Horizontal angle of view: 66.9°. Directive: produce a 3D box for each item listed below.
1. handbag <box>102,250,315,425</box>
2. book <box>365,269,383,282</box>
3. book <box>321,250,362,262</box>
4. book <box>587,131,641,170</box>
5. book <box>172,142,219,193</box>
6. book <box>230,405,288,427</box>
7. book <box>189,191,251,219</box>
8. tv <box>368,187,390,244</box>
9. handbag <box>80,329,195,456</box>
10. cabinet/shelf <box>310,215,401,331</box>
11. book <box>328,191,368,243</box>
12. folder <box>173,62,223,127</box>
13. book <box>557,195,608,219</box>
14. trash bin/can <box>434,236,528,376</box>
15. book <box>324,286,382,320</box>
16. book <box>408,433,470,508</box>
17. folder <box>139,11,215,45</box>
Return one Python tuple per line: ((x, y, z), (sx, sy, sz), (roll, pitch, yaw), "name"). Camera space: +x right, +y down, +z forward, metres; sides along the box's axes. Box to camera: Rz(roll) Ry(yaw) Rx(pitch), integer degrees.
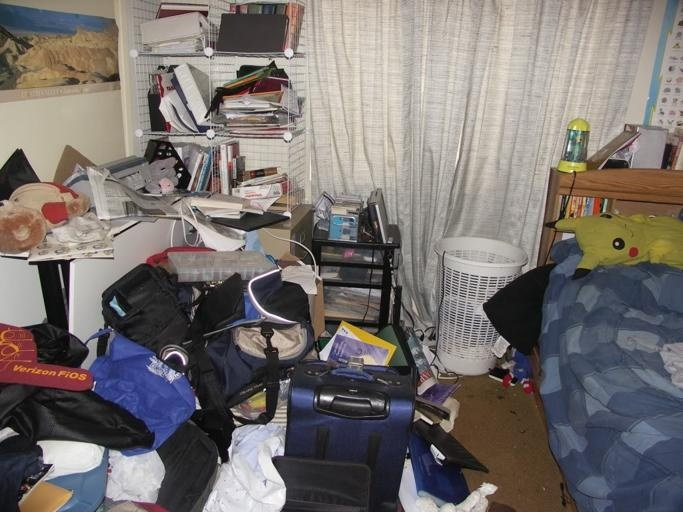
((-0.565, 0.285, 2.301), (0.862, 0.580, 0.286), (4, -29, -18), "handbag")
((0.182, 0.114, 3.043), (0.100, 0.086, 0.052), (3, 20, -3), "book")
((-0.004, -0.003, 3.037), (0.240, 0.075, 0.050), (6, 20, 7), "book")
((1.524, -0.598, 2.923), (0.222, 0.225, 0.185), (10, 21, 18), "book")
((-0.804, -0.488, 2.919), (0.294, 0.346, 0.274), (3, 10, -6), "book")
((-0.349, 0.655, 2.120), (0.161, 0.101, 0.035), (-3, -15, 9), "book")
((-0.641, -0.265, 2.713), (0.187, 0.052, 0.168), (7, 20, -14), "book")
((0.214, -0.233, 3.037), (0.085, 0.215, 0.387), (-7, 1, 12), "tv")
((-0.871, 0.504, 2.152), (0.402, 0.191, 0.538), (-25, 19, 17), "handbag")
((0.069, 0.112, 3.141), (0.439, 0.678, 0.320), (5, -2, 8), "cabinet/shelf")
((0.066, -0.217, 3.070), (0.195, 0.226, 0.245), (3, 21, 9), "book")
((-0.817, -0.919, 2.880), (0.085, 0.312, 0.333), (-16, 4, 13), "folder")
((1.351, -0.286, 2.931), (0.257, 0.117, 0.229), (4, 9, 5), "book")
((0.746, 0.296, 3.042), (0.499, 0.740, 0.432), (15, 23, 28), "trash bin/can")
((0.061, 0.281, 3.121), (0.404, 0.188, 0.260), (3, 7, 5), "book")
((0.414, 0.917, 2.225), (0.258, 0.137, 0.317), (5, 19, 3), "book")
((-0.934, -1.231, 2.820), (0.227, 0.065, 0.212), (-2, 15, 5), "folder")
